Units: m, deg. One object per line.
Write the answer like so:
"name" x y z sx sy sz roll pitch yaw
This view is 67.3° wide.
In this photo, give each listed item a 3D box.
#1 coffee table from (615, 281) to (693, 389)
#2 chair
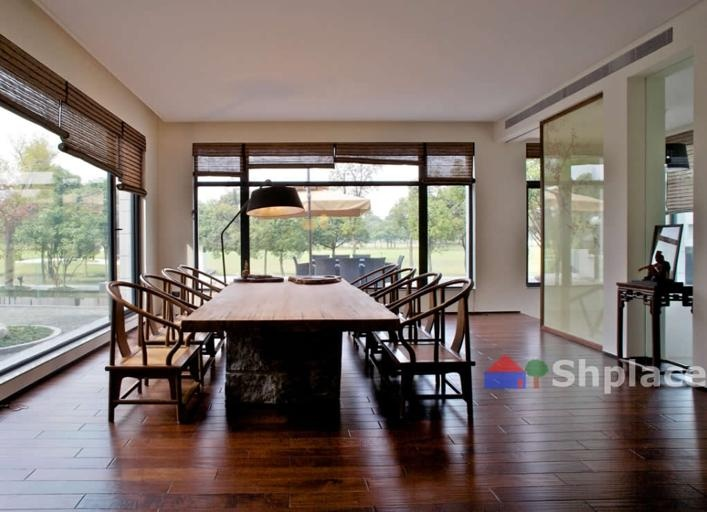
"coffee table" 2.657 0.658 5.017 0.663 0.924 0.964 0 -3 6
"chair" -0.455 0.629 4.278 2.636 1.009 2.042 1 5 5
